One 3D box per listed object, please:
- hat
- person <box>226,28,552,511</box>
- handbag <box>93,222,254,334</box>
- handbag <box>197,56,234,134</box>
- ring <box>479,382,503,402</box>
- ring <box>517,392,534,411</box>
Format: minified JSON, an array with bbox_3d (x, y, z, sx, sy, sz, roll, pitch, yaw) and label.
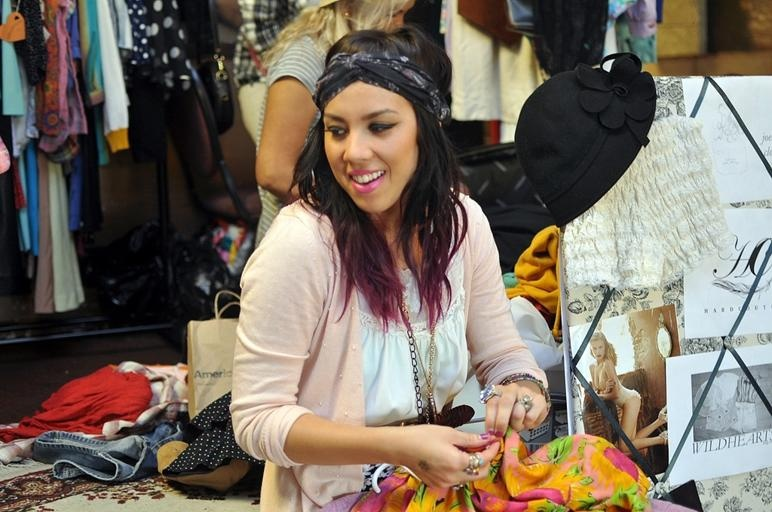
[{"bbox_3d":[0.644,-0.405,2.537,0.259,0.574,0.416,30,-18,-30],"label":"hat"},{"bbox_3d":[0.047,-0.030,2.269,0.914,1.336,0.444,0,1,-29],"label":"person"},{"bbox_3d":[-1.294,0.143,4.602,0.717,0.283,0.568,-28,16,-19],"label":"handbag"},{"bbox_3d":[-0.947,-0.945,4.459,0.117,0.376,0.245,-19,24,-39],"label":"handbag"},{"bbox_3d":[0.320,0.416,2.358,0.050,0.020,0.040,-34,32,0],"label":"ring"},{"bbox_3d":[0.422,0.438,2.329,0.038,0.023,0.021,42,-19,9],"label":"ring"}]
